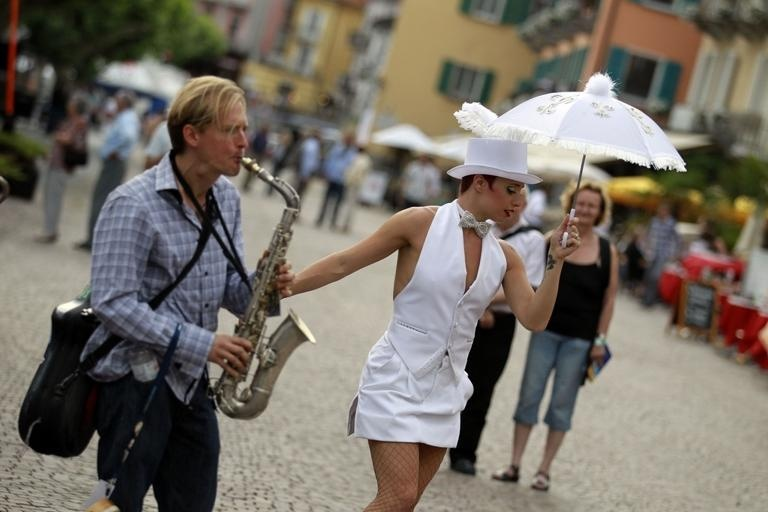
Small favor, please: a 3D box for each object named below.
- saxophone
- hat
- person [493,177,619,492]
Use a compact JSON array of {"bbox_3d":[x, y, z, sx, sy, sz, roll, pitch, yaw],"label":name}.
[{"bbox_3d":[-0.672,0.156,4.706,0.530,1.582,0.590,1,-12,-8],"label":"saxophone"},{"bbox_3d":[0.638,-0.565,4.669,0.360,0.158,0.324,9,-3,31],"label":"hat"},{"bbox_3d":[1.609,0.623,7.108,0.880,2.615,1.126,9,3,10],"label":"person"}]
